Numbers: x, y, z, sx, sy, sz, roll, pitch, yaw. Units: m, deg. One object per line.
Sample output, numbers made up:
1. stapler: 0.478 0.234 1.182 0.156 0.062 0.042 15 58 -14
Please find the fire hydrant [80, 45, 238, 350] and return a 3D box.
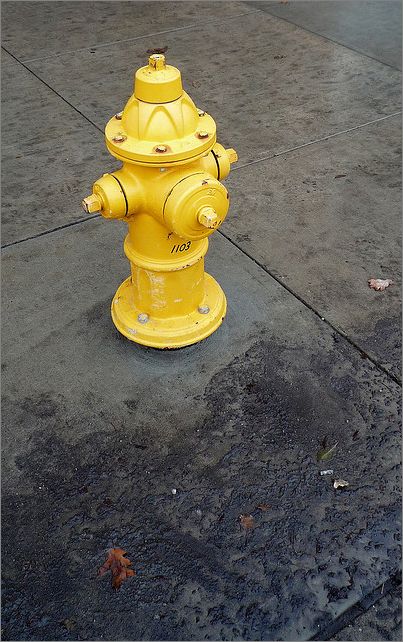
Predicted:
1. fire hydrant: -0.185 -0.476 2.950 0.626 1.451 0.717 2 30 3
